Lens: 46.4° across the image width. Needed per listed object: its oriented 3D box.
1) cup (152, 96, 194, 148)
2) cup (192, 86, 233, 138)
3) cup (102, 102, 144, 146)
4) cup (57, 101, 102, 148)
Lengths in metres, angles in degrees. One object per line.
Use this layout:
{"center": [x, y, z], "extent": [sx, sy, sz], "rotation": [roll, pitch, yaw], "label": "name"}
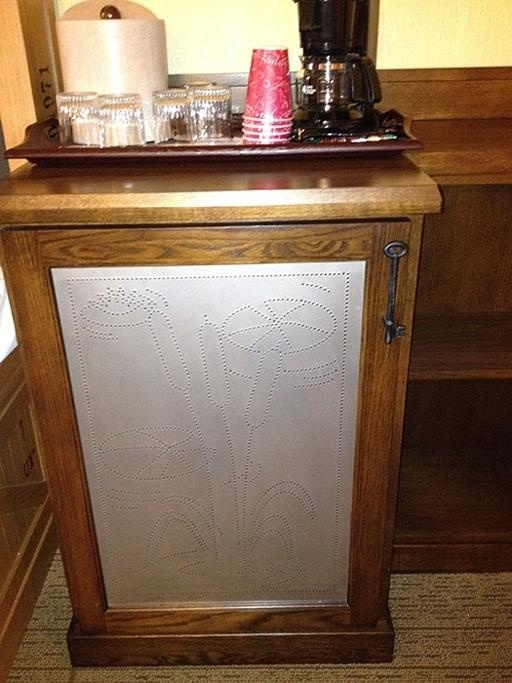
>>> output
{"center": [-0.126, -0.348, 0.963], "extent": [0.081, 0.082, 0.073], "rotation": [1, 36, 3], "label": "cup"}
{"center": [-0.070, -0.355, 0.987], "extent": [0.081, 0.091, 0.098], "rotation": [-1, -4, -1], "label": "cup"}
{"center": [-0.198, -0.323, 0.886], "extent": [0.061, 0.061, 0.059], "rotation": [-1, 34, 0], "label": "cup"}
{"center": [-0.258, -0.334, 0.940], "extent": [0.085, 0.073, 0.077], "rotation": [-2, 27, -9], "label": "cup"}
